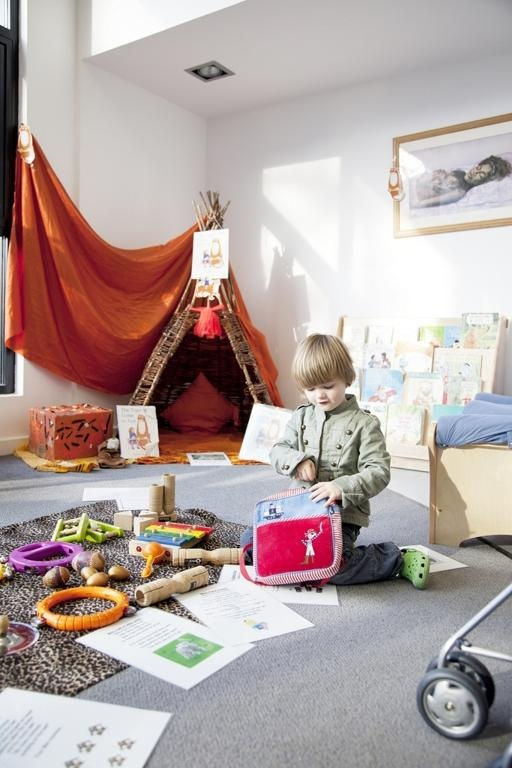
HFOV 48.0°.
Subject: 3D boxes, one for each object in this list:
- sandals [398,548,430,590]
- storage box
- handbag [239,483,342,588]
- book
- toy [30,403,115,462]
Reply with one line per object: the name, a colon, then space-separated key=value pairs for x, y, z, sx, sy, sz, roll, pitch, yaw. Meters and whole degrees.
sandals: x=0.418 y=0.484 z=1.533 sx=0.067 sy=0.082 sz=0.168 roll=-1 pitch=5 yaw=-3
storage box: x=-1.027 y=0.267 z=3.152 sx=0.437 sy=0.232 sz=0.427 roll=1 pitch=4 yaw=-14
handbag: x=0.094 y=0.382 z=1.444 sx=0.262 sy=0.260 sz=0.069 roll=20 pitch=-7 yaw=-6
book: x=0.828 y=-0.017 z=2.797 sx=0.775 sy=0.710 sz=0.299 roll=2 pitch=-3 yaw=36
toy: x=-0.995 y=0.263 z=3.093 sx=0.429 sy=0.259 sz=0.361 roll=-2 pitch=5 yaw=-20
